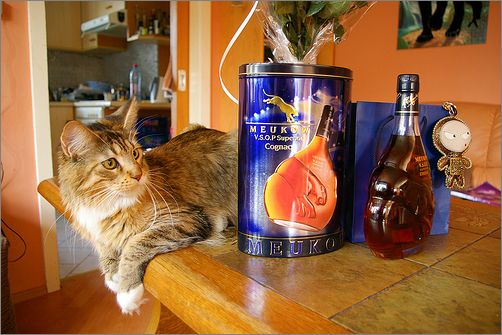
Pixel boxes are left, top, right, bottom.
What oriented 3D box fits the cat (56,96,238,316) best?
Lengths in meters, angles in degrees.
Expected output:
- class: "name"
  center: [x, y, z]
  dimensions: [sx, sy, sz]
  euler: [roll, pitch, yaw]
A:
- class: "cat"
  center: [-0.221, 0.051, 1.143]
  dimensions: [0.401, 0.379, 0.638]
  euler: [-15, 8, 29]
